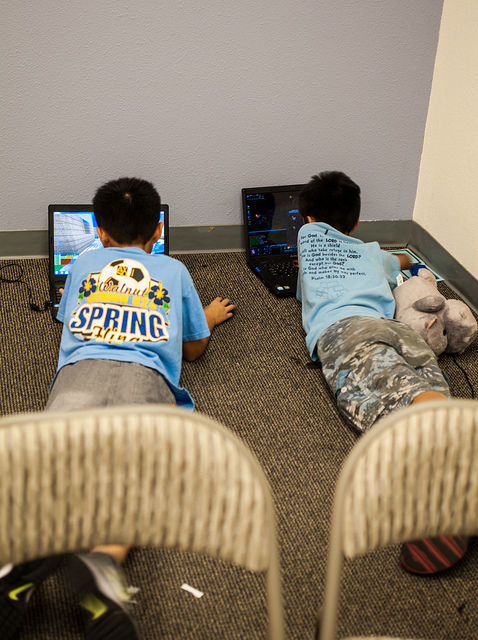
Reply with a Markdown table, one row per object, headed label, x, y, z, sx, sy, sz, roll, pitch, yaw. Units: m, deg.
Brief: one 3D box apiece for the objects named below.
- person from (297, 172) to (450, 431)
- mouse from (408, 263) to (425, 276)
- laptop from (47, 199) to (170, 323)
| label | x | y | z | sx | sy | sz | roll | pitch | yaw |
| --- | --- | --- | --- | --- | --- | --- | --- | --- | --- |
| person | 0.404 | -0.088 | 1.592 | 0.432 | 0.324 | 0.812 | -8 | 46 | -12 |
| mouse | 0.746 | -0.220 | 2.105 | 0.058 | 0.013 | 0.050 | -10 | 38 | -16 |
| laptop | -0.533 | -0.270 | 2.052 | 0.601 | 0.332 | 0.462 | -2 | 38 | -10 |
